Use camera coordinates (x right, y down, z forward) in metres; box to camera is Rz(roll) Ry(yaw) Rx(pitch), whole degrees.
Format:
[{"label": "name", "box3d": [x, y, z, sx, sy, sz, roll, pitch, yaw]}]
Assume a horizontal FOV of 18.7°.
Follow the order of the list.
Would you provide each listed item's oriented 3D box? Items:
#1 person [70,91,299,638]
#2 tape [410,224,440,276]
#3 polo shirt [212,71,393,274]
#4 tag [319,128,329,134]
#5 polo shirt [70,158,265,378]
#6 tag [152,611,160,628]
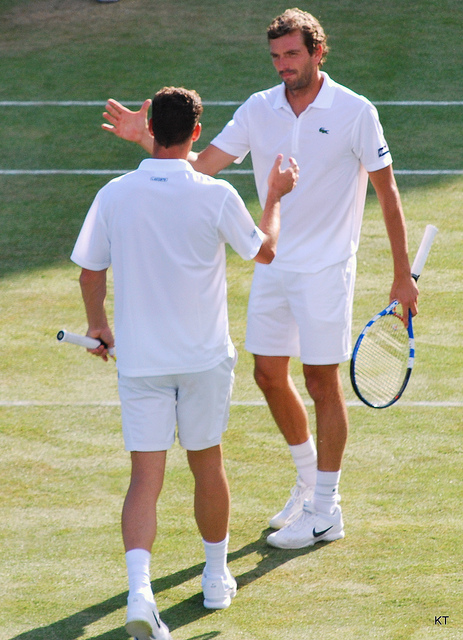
[{"label": "person", "box3d": [-0.298, 0.211, 5.891, 0.722, 2.144, 1.356, 4, 26, 20]}, {"label": "tape", "box3d": [0.876, -0.309, 6.690, 0.127, 0.232, 0.150, 13, 30, 25]}, {"label": "polo shirt", "box3d": [0.289, -0.680, 6.558, 0.836, 0.884, 0.498, 4, 16, 15]}, {"label": "tag", "box3d": [0.404, -0.851, 6.351, 0.040, 0.023, 0.008, 2, 25, 16]}, {"label": "polo shirt", "box3d": [-0.255, -0.222, 5.836, 0.753, 0.841, 0.337, -8, 24, -6]}, {"label": "tag", "box3d": [-0.300, 1.194, 5.619, 0.010, 0.083, 0.009, -35, 25, -26]}]
